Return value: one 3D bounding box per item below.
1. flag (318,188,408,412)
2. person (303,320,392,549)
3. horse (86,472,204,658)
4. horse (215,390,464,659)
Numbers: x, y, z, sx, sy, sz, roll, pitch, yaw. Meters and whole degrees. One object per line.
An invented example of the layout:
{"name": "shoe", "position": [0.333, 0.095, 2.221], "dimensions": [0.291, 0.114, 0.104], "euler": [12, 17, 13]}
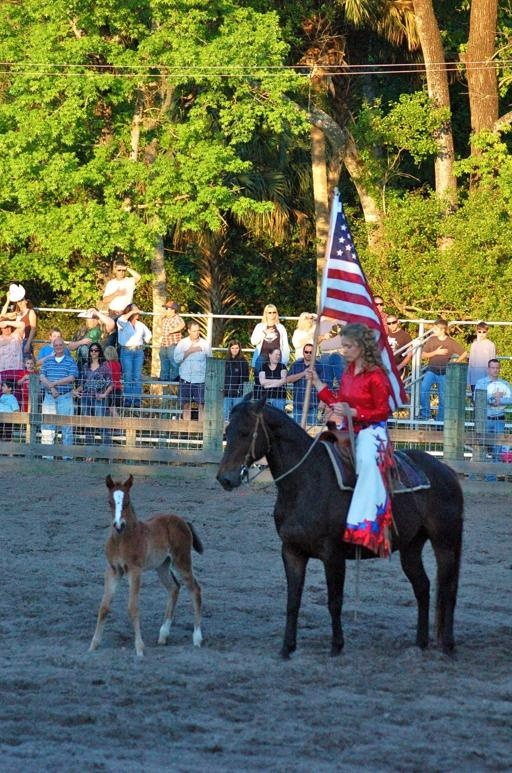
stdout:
{"name": "flag", "position": [0.879, -0.617, 12.506], "dimensions": [0.683, 0.325, 2.720], "euler": [-8, -45, 4]}
{"name": "person", "position": [0.776, 0.402, 11.090], "dimensions": [0.591, 1.709, 0.629], "euler": [-2, 8, -26]}
{"name": "horse", "position": [-0.847, 1.377, 11.263], "dimensions": [0.407, 1.363, 1.453], "euler": [0, -3, 30]}
{"name": "horse", "position": [0.721, 1.176, 11.398], "dimensions": [2.235, 2.023, 0.693], "euler": [3, 0, -27]}
